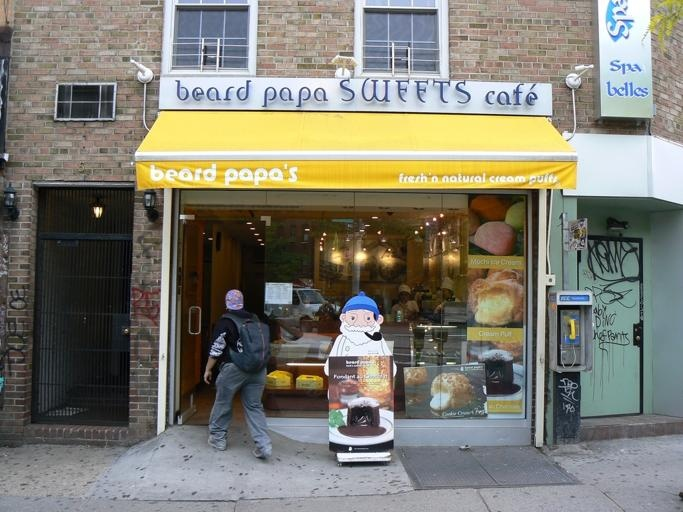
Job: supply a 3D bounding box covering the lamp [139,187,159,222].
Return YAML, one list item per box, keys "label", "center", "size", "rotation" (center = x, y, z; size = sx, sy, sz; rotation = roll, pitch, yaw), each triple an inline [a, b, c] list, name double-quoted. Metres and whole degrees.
- label: "lamp"
  center: [-2.870, -0.731, 12.046]
  size: [0.216, 0.484, 0.207]
  rotation: [-1, -4, -15]

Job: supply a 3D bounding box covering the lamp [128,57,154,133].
- label: "lamp"
  center: [-3.078, -2.404, 12.161]
  size: [0.247, 1.003, 0.400]
  rotation: [5, 5, 26]

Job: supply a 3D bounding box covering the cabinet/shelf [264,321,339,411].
- label: "cabinet/shelf"
  center: [-0.658, 1.713, 12.762]
  size: [1.075, 1.380, 1.013]
  rotation: [1, 1, -4]

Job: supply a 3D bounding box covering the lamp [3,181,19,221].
- label: "lamp"
  center: [-5.032, -0.768, 12.120]
  size: [0.219, 0.494, 0.155]
  rotation: [-1, -4, -11]

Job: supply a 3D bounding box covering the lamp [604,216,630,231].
- label: "lamp"
  center: [4.606, -0.508, 13.319]
  size: [0.373, 0.232, 0.124]
  rotation: [0, -4, -21]

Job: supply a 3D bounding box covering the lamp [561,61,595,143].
- label: "lamp"
  center: [3.680, -2.355, 12.361]
  size: [0.515, 1.225, 0.235]
  rotation: [-2, -4, 5]
